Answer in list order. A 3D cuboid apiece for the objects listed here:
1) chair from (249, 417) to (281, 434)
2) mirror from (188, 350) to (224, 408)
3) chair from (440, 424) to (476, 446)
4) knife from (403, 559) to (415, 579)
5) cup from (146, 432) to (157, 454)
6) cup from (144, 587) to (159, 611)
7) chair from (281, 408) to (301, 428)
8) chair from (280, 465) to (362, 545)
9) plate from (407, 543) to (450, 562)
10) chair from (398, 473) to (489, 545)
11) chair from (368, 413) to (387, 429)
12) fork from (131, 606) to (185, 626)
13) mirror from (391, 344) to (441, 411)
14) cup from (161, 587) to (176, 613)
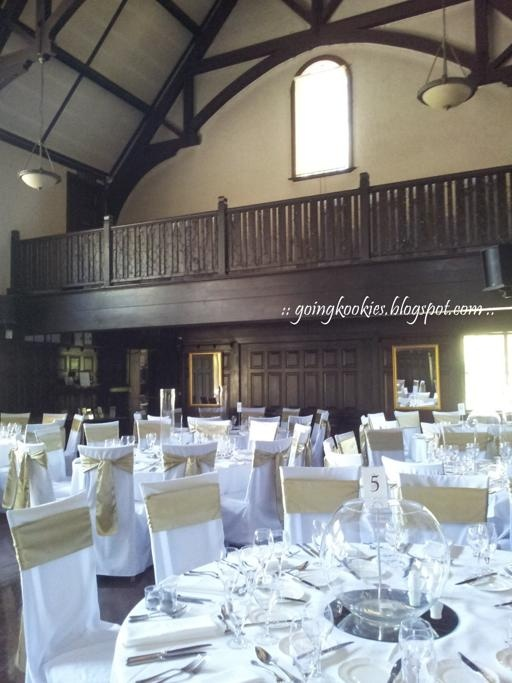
[{"bbox_3d":[0.077,0.860,6.001,0.173,0.160,0.216,1,-3,3],"label":"chair"},{"bbox_3d":[-0.817,0.632,9.762,0.685,1.446,0.050,0,1,31],"label":"mirror"},{"bbox_3d":[1.682,0.785,4.875,0.262,0.172,0.672,-5,-2,19],"label":"chair"},{"bbox_3d":[0.377,0.557,1.441,0.006,0.037,0.038,13,-36,24],"label":"knife"},{"bbox_3d":[-0.861,0.852,4.906,0.095,0.239,0.129,-1,-8,-1],"label":"cup"},{"bbox_3d":[-0.314,0.773,1.753,0.031,0.065,0.063,1,-3,0],"label":"cup"},{"bbox_3d":[0.458,1.018,7.832,0.149,0.373,0.215,3,-10,-8],"label":"chair"},{"bbox_3d":[0.281,0.661,2.768,0.329,0.588,0.364,0,-1,-5],"label":"chair"},{"bbox_3d":[0.432,0.528,1.454,0.113,0.047,0.046,-5,-2,-8],"label":"plate"},{"bbox_3d":[0.820,0.720,2.539,0.375,0.293,0.153,-5,-2,18],"label":"chair"},{"bbox_3d":[1.330,0.859,6.418,0.188,0.152,0.667,-5,-2,12],"label":"chair"},{"bbox_3d":[-0.273,0.772,1.639,0.104,0.024,0.017,-11,0,-6],"label":"fork"},{"bbox_3d":[2.276,0.505,8.201,0.645,1.261,0.043,-1,-1,24],"label":"mirror"},{"bbox_3d":[-0.249,0.750,1.697,0.041,0.067,0.049,0,-6,-1],"label":"cup"}]
